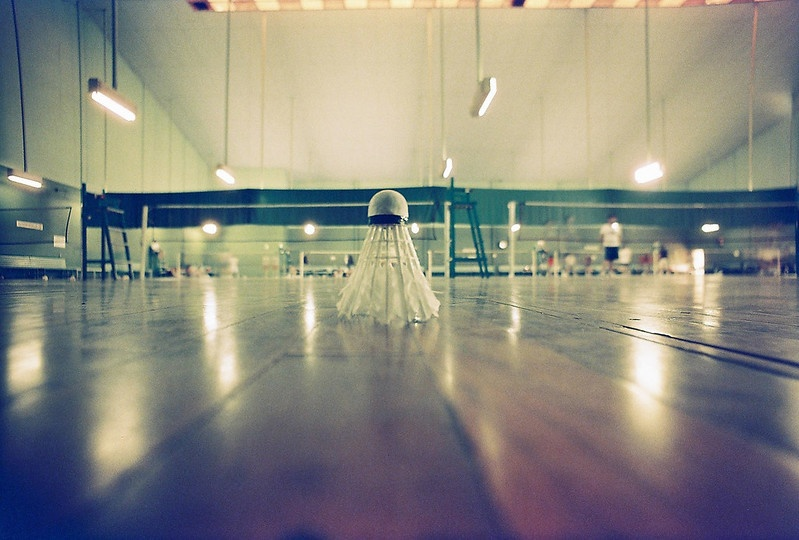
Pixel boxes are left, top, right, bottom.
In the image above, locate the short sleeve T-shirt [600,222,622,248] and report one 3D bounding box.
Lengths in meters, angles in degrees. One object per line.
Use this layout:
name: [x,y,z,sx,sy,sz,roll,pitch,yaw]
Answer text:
short sleeve T-shirt: [8.798,-1.498,28.542,1.040,1.398,0.721,1,-7,-2]
